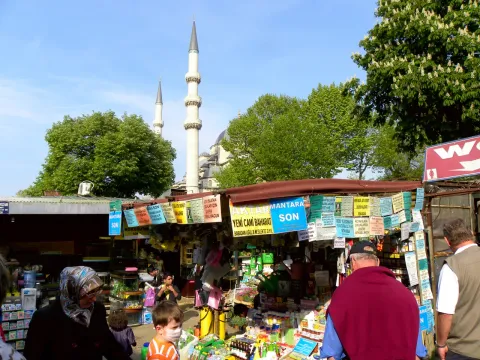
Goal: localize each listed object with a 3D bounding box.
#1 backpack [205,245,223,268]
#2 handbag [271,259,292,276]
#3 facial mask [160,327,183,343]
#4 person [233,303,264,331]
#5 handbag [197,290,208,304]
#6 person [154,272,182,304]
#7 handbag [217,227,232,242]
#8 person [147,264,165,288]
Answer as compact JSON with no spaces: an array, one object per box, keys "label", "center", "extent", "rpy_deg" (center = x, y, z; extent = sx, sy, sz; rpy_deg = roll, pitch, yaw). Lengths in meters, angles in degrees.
[{"label":"backpack","center":[-0.559,1.596,9.494],"extent":[0.299,0.405,0.161],"rpy_deg":[27,-1,17]},{"label":"handbag","center":[0.898,1.886,9.793],"extent":[0.397,0.384,0.331],"rpy_deg":[4,-15,-4]},{"label":"facial mask","center":[-0.942,2.117,6.203],"extent":[0.207,0.137,0.190],"rpy_deg":[-10,-13,29]},{"label":"person","center":[0.146,3.223,10.354],"extent":[0.390,0.714,2.100],"rpy_deg":[-2,-7,-9]},{"label":"handbag","center":[-0.784,2.499,9.720],"extent":[0.081,0.304,0.373],"rpy_deg":[2,-9,-36]},{"label":"person","center":[-1.635,2.410,10.114],"extent":[0.517,0.650,0.889],"rpy_deg":[-2,-7,-12]},{"label":"handbag","center":[-0.274,1.088,9.026],"extent":[0.292,0.334,0.557],"rpy_deg":[-1,-7,-17]},{"label":"person","center":[-2.234,2.537,11.892],"extent":[0.378,0.449,0.708],"rpy_deg":[-11,7,-11]}]
